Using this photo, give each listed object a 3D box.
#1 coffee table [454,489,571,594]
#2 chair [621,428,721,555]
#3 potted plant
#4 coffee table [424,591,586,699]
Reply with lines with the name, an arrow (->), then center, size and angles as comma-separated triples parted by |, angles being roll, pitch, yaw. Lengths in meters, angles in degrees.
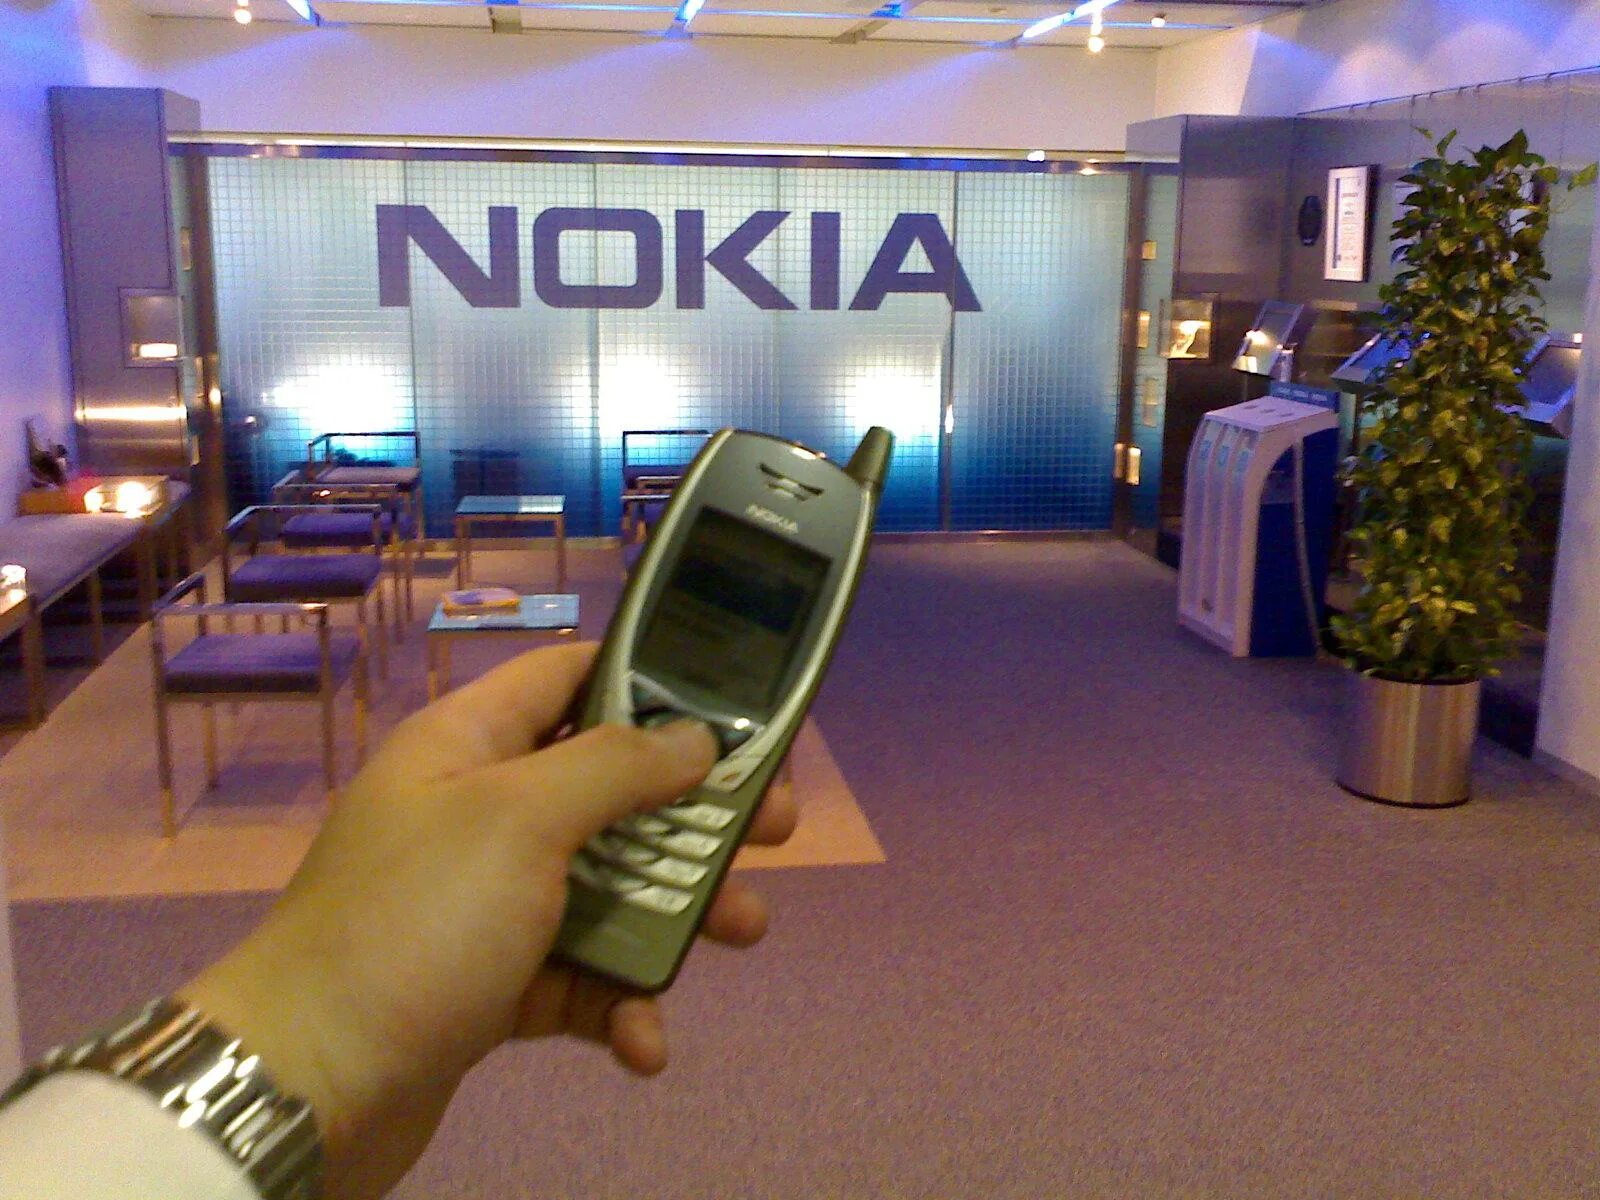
coffee table -> -1.982, -0.320, 7.430 | 0.884, 0.637, 0.817 | -1, 10, -6
chair -> -0.986, -0.865, 8.760 | 0.914, 0.885, 0.564 | -1, 8, 9
potted plant -> 2.509, -0.452, 4.370 | 0.682, 2.589, 0.613 | 9, 20, 25
coffee table -> -1.310, 0.057, 4.986 | 0.642, 0.491, 0.674 | -1, 9, -5
